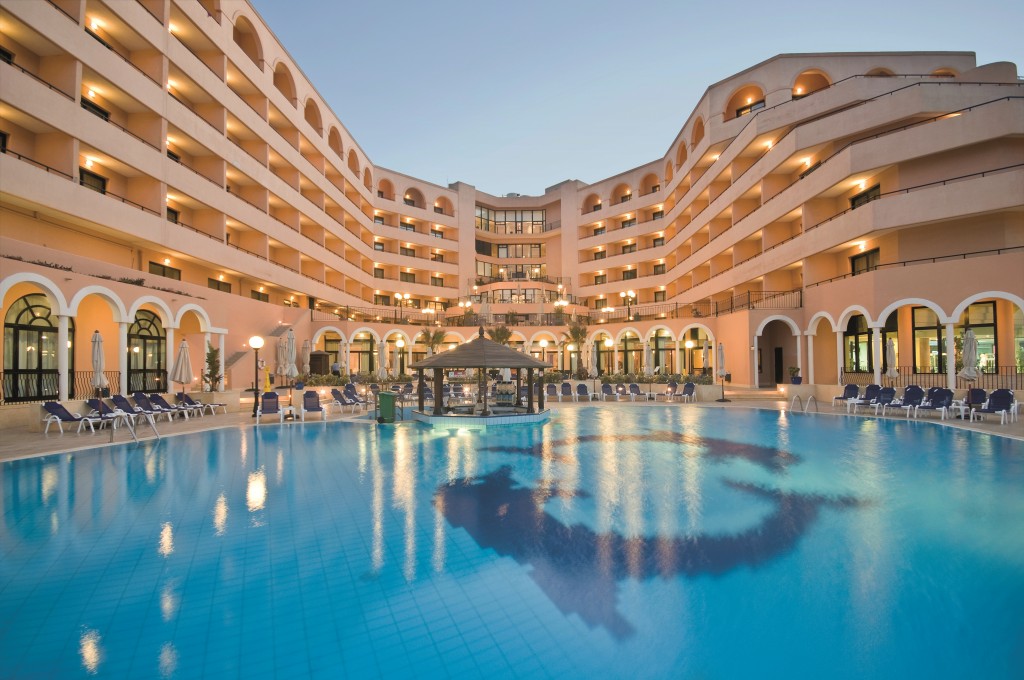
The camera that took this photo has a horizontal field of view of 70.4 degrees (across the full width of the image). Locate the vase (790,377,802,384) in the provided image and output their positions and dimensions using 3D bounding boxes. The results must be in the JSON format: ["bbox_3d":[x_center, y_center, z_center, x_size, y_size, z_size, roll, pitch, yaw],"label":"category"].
[{"bbox_3d":[15.344,2.168,39.452,0.320,0.302,0.316,1,-5,-6],"label":"vase"}]

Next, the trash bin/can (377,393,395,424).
[{"bbox_3d":[-5.324,2.886,30.820,0.708,1.256,0.733,-1,-6,-11],"label":"trash bin/can"}]
